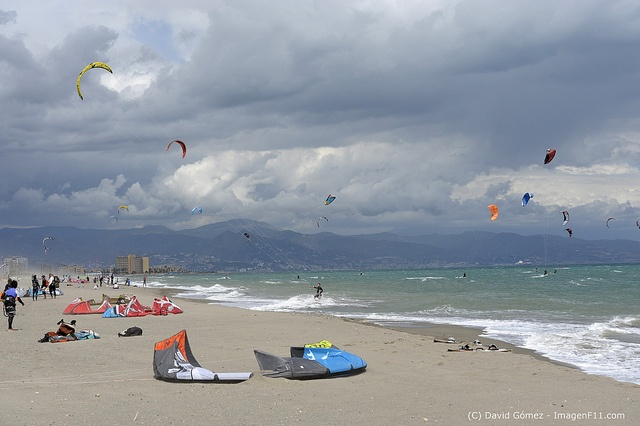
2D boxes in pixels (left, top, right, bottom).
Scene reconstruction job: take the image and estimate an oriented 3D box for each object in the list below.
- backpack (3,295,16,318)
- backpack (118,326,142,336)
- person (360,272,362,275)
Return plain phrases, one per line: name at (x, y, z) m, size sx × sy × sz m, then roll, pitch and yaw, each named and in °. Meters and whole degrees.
backpack at (-13.157, 3.968, 22.042) m, size 0.352 × 0.899 × 0.557 m, roll 5°, pitch -11°, yaw -38°
backpack at (-7.769, 4.892, 21.317) m, size 0.588 × 0.218 × 0.459 m, roll 2°, pitch -3°, yaw -37°
person at (13.152, 18.843, 162.779) m, size 1.097 × 1.030 × 2.684 m, roll 3°, pitch -7°, yaw 4°
